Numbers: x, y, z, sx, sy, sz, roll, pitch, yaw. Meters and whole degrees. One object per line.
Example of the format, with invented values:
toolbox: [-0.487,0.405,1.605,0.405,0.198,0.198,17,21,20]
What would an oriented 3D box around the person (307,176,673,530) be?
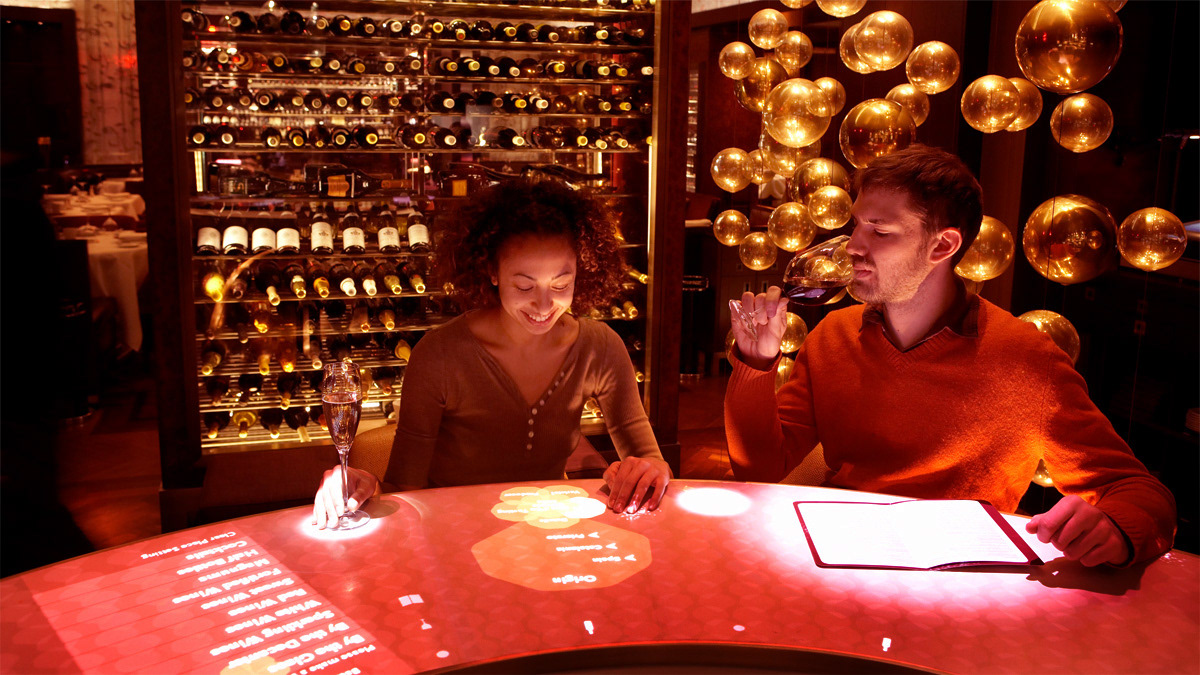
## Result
person: [-0.420,0.250,3.095,1.537,1.646,1.107,-1,15,-16]
